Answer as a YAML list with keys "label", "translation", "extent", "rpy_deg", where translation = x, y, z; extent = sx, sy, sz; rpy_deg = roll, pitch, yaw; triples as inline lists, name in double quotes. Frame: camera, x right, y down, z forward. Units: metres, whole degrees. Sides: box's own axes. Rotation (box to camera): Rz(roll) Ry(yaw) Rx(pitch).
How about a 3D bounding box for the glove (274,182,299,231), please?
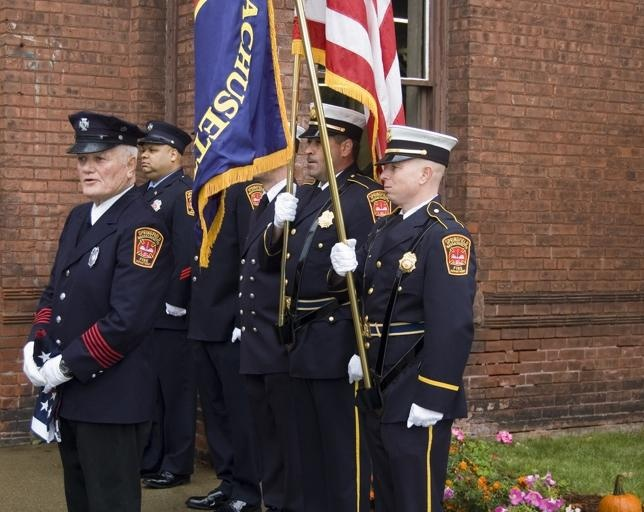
- label: "glove"
  translation: [-0.226, -0.285, 6.226]
  extent: [0.136, 0.233, 0.176]
  rpy_deg: [2, 2, -4]

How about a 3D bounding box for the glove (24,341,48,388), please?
- label: "glove"
  translation: [-1.567, 0.641, 5.635]
  extent: [0.186, 0.269, 0.090]
  rpy_deg: [1, 9, 40]

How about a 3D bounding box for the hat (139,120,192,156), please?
- label: "hat"
  translation: [-1.177, -0.932, 7.733]
  extent: [0.334, 0.172, 0.400]
  rpy_deg: [15, -9, 46]

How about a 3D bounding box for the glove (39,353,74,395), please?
- label: "glove"
  translation: [-1.465, 0.657, 5.491]
  extent: [0.182, 0.229, 0.114]
  rpy_deg: [2, 2, 2]

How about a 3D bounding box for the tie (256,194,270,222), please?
- label: "tie"
  translation: [-0.398, -0.331, 6.659]
  extent: [0.051, 0.164, 0.117]
  rpy_deg: [17, -5, -3]

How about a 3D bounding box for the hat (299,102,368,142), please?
- label: "hat"
  translation: [0.100, -0.867, 6.468]
  extent: [0.323, 0.153, 0.267]
  rpy_deg: [3, -5, -30]

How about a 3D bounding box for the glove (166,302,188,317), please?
- label: "glove"
  translation: [-1.094, 0.416, 7.493]
  extent: [0.107, 0.054, 0.114]
  rpy_deg: [11, -3, 28]

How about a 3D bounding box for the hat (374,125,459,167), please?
- label: "hat"
  translation: [0.552, -0.628, 5.672]
  extent: [0.306, 0.142, 0.269]
  rpy_deg: [1, 0, -19]

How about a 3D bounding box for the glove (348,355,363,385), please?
- label: "glove"
  translation: [0.215, 0.666, 5.761]
  extent: [0.051, 0.150, 0.104]
  rpy_deg: [-2, 17, -30]

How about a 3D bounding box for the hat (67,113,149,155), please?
- label: "hat"
  translation: [-1.209, -0.667, 5.702]
  extent: [0.261, 0.156, 0.313]
  rpy_deg: [-1, 0, 36]

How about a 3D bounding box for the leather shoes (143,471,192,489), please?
- label: "leather shoes"
  translation: [-1.150, 1.675, 7.401]
  extent: [0.322, 0.150, 0.126]
  rpy_deg: [7, -10, -25]

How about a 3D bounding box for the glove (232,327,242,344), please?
- label: "glove"
  translation: [-0.608, 0.570, 7.103]
  extent: [0.043, 0.105, 0.101]
  rpy_deg: [9, -17, -6]

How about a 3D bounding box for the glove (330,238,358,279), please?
- label: "glove"
  translation: [0.141, 0.016, 5.766]
  extent: [0.152, 0.212, 0.078]
  rpy_deg: [-3, -4, 17]

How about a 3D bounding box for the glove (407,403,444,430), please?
- label: "glove"
  translation: [0.541, 0.876, 5.351]
  extent: [0.151, 0.131, 0.043]
  rpy_deg: [10, 22, -1]
